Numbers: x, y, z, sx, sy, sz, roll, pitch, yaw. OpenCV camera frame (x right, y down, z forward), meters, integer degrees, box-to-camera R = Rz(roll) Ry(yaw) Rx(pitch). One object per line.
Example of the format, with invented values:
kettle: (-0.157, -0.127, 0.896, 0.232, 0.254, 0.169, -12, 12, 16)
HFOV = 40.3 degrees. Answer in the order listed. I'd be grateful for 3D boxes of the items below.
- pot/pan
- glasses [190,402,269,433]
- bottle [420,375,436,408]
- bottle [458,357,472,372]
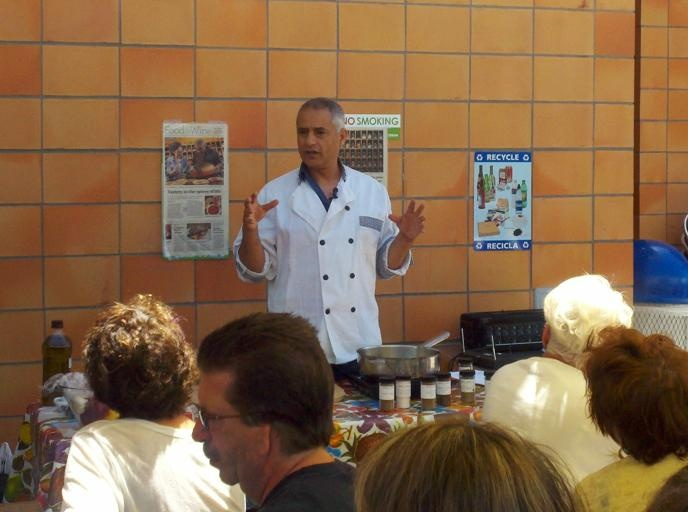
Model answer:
pot/pan: (0.260, 0.454, 4.172, 0.303, 0.130, 0.194, 2, -4, -44)
glasses: (-0.387, 0.519, 2.980, 0.195, 0.071, 0.206, 0, -1, -7)
bottle: (0.359, 0.590, 3.993, 0.089, 0.183, 0.099, 0, -2, -2)
bottle: (0.540, 0.488, 4.184, 0.053, 0.070, 0.059, 1, -4, -1)
